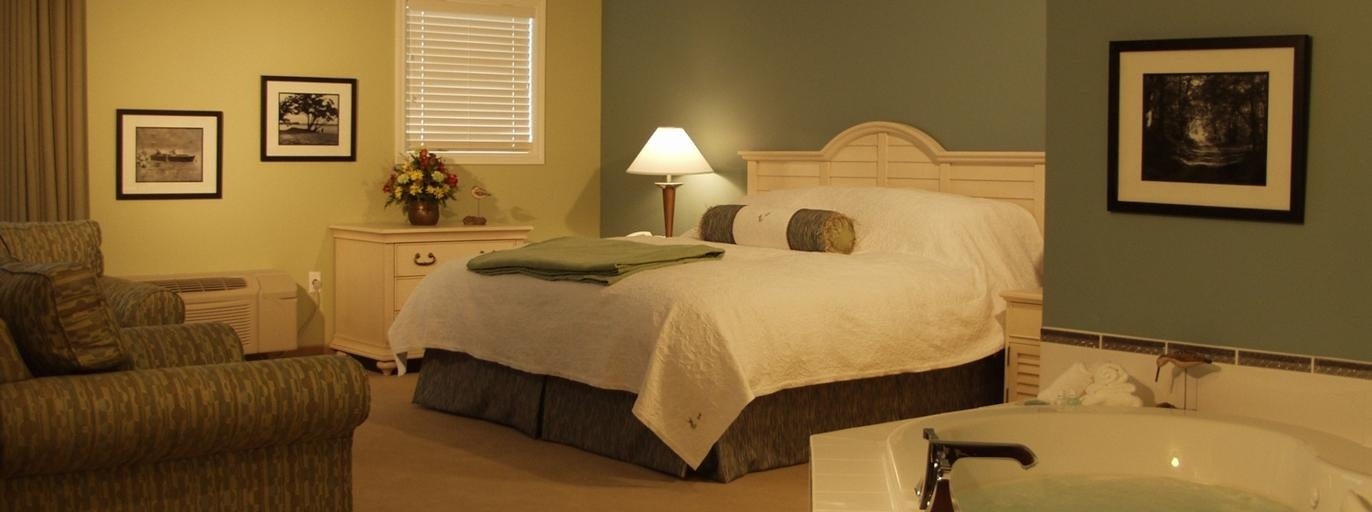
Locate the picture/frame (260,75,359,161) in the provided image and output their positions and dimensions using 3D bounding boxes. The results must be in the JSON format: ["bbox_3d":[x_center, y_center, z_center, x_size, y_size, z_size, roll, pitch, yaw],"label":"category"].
[{"bbox_3d":[-4.063,-1.501,9.293,1.256,0.907,0.106,0,9,-18],"label":"picture/frame"}]

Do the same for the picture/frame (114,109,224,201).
[{"bbox_3d":[-5.358,-1.056,8.940,1.288,0.959,0.077,0,0,-21],"label":"picture/frame"}]

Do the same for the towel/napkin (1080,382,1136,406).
[{"bbox_3d":[2.938,0.976,6.034,0.251,0.056,0.214,-2,6,6],"label":"towel/napkin"}]

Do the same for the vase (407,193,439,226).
[{"bbox_3d":[-2.770,-0.473,9.209,0.368,0.229,0.333,0,1,13],"label":"vase"}]

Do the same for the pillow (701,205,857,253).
[{"bbox_3d":[0.884,-0.275,8.270,1.455,0.385,0.469,9,13,38],"label":"pillow"}]

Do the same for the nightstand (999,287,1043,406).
[{"bbox_3d":[2.836,0.779,7.390,0.263,0.942,0.274,0,13,-10],"label":"nightstand"}]

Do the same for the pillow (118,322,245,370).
[{"bbox_3d":[-3.831,0.678,6.656,0.707,0.167,0.430,-5,28,-26],"label":"pillow"}]
